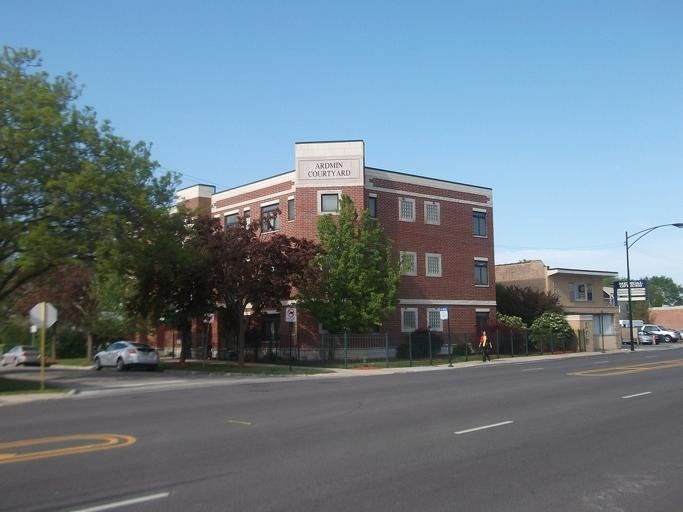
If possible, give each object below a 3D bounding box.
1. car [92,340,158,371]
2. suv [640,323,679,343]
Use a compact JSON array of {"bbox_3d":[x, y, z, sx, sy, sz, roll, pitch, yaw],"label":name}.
[{"bbox_3d":[-12.849,5.907,38.646,3.988,1.403,1.835,-5,-10,42],"label":"car"},{"bbox_3d":[36.975,8.906,75.088,4.014,2.044,2.041,-4,-3,17],"label":"suv"}]
